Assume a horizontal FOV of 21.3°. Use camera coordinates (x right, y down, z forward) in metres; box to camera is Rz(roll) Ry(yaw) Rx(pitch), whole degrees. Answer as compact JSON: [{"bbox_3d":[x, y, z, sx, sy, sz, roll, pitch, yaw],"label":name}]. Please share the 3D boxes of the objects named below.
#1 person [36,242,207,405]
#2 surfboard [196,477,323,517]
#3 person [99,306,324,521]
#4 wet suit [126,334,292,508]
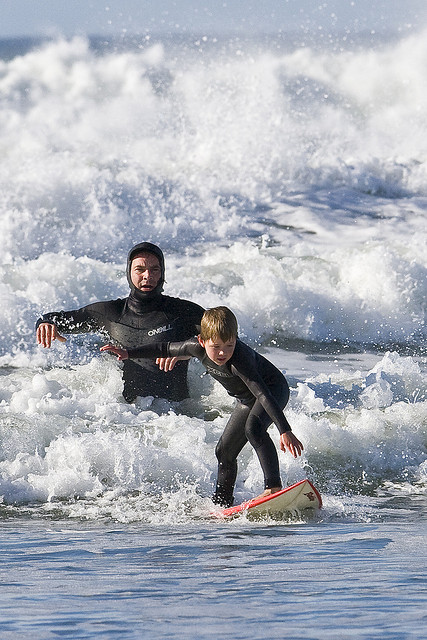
[{"bbox_3d":[-0.523,0.145,7.062,1.049,1.190,0.407,-4,-2,2],"label":"person"},{"bbox_3d":[0.140,0.831,5.225,0.712,0.188,0.077,-10,36,26],"label":"surfboard"},{"bbox_3d":[0.080,0.422,5.263,0.741,0.957,1.227,-5,-4,-29],"label":"person"},{"bbox_3d":[0.046,0.527,5.377,0.579,0.935,0.676,9,11,-1],"label":"wet suit"}]
